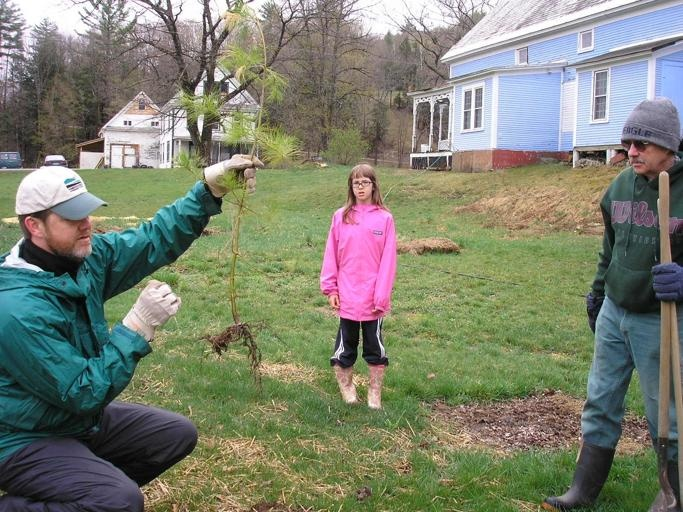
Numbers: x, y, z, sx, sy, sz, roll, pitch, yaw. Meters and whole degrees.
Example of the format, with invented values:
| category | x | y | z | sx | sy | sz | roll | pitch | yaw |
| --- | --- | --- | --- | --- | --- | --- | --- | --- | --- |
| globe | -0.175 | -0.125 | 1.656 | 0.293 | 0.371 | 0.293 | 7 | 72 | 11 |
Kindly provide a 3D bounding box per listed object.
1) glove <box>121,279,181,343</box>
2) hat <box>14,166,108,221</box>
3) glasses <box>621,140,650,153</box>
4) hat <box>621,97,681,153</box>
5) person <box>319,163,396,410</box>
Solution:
| category | x | y | z | sx | sy | sz | roll | pitch | yaw |
| --- | --- | --- | --- | --- | --- | --- | --- | --- | --- |
| glove | -1.229 | 0.358 | 4.568 | 0.344 | 0.415 | 0.192 | 47 | 7 | 11 |
| hat | -1.841 | -0.408 | 4.455 | 0.473 | 0.273 | 0.354 | -5 | 14 | -7 |
| glasses | 2.117 | -0.774 | 4.786 | 0.116 | 0.043 | 0.110 | 14 | -5 | -35 |
| hat | 2.235 | -0.900 | 4.834 | 0.397 | 0.393 | 0.370 | 2 | 4 | -4 |
| person | 0.199 | 0.276 | 6.484 | 0.792 | 2.260 | 0.626 | 11 | 14 | 29 |
